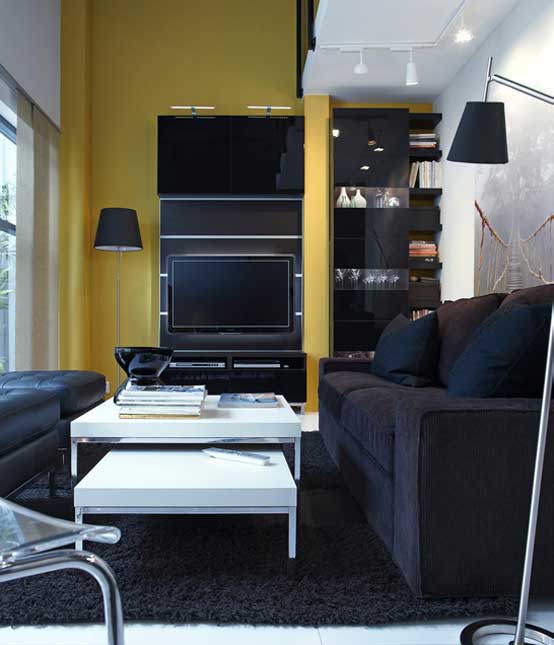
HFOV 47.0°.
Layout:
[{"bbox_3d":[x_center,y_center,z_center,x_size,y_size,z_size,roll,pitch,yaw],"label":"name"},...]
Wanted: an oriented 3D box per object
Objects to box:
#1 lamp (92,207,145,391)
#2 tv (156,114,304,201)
[{"bbox_3d":[-1.257,-0.205,5.136,0.363,1.415,0.597,-2,4,-12],"label":"lamp"},{"bbox_3d":[-0.401,-1.345,5.159,1.149,0.671,0.083,-2,4,-3],"label":"tv"}]
